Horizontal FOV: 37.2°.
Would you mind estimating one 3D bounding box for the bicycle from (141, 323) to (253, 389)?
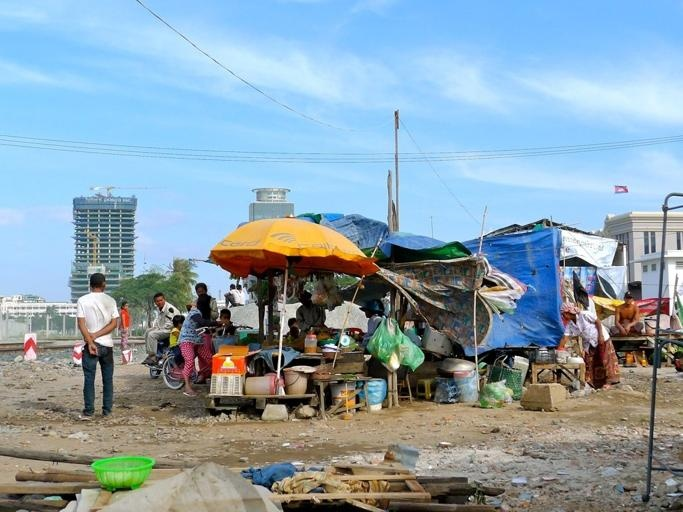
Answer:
[{"bbox_3d":[-3.118,2.082,20.780,2.551,1.342,1.194,-6,0,18],"label":"bicycle"}]

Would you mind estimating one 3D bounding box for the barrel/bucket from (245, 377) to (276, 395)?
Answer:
[{"bbox_3d":[-1.376,2.193,17.184,0.487,0.308,0.284,-2,11,9],"label":"barrel/bucket"}]

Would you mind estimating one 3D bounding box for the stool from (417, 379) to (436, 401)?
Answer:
[{"bbox_3d":[1.604,2.546,19.531,0.378,0.313,0.359,2,-4,-20],"label":"stool"}]

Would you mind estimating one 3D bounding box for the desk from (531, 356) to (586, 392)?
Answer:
[{"bbox_3d":[4.257,2.263,19.860,1.049,0.614,1.390,-2,-4,20],"label":"desk"}]

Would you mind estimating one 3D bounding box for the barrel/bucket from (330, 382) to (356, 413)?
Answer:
[{"bbox_3d":[0.044,2.440,17.813,0.526,0.723,0.524,-1,-1,0],"label":"barrel/bucket"}]

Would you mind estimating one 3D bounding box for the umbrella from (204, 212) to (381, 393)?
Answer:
[{"bbox_3d":[-1.020,0.791,18.399,2.971,2.985,3.183,0,-2,12],"label":"umbrella"}]

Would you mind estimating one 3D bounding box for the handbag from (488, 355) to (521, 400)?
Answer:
[{"bbox_3d":[3.190,2.386,19.769,0.690,0.617,0.491,0,-4,24],"label":"handbag"}]

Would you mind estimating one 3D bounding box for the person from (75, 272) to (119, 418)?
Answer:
[{"bbox_3d":[-4.086,1.472,16.975,0.653,2.414,0.800,0,-3,-12],"label":"person"}]

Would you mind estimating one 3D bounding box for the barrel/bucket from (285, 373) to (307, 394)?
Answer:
[{"bbox_3d":[-0.769,2.155,17.260,0.376,0.282,0.385,0,-6,0],"label":"barrel/bucket"}]
